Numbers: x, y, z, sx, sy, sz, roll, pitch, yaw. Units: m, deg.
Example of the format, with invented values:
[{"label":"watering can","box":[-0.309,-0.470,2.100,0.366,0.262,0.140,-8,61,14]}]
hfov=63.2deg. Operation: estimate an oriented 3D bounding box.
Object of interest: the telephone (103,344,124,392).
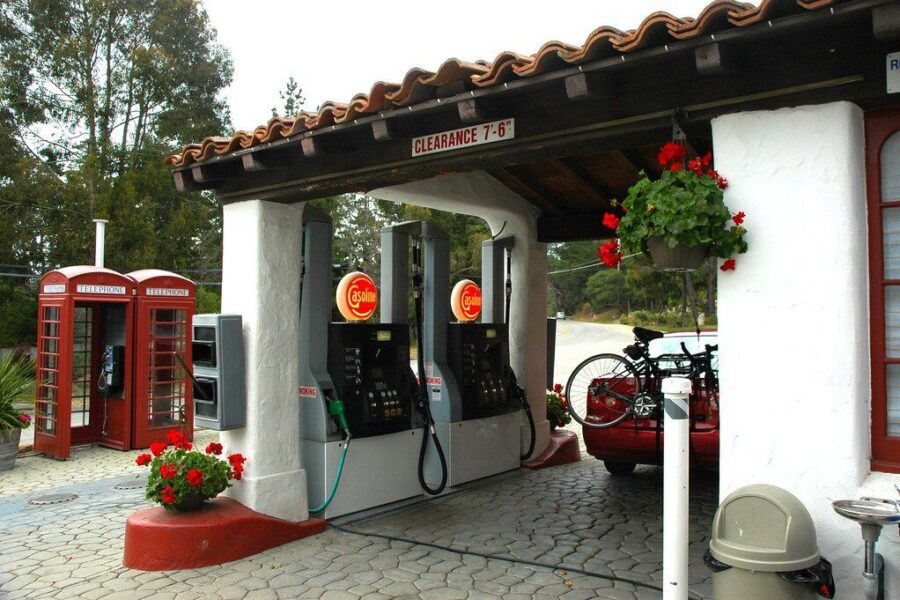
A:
[{"label":"telephone","box":[-5.221,1.088,11.373,0.460,0.772,0.158,2,4,33]}]

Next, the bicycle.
[{"label":"bicycle","box":[2.328,1.038,9.019,2.183,1.350,0.966,-2,-13,37]}]

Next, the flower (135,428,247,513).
[{"label":"flower","box":[-2.727,1.760,7.550,0.882,0.647,0.902,1,1,19]}]

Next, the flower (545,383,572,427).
[{"label":"flower","box":[1.545,1.631,11.376,0.603,0.621,0.609,1,-5,-3]}]

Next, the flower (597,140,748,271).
[{"label":"flower","box":[1.851,-0.848,6.051,1.212,1.147,1.184,-1,15,23]}]

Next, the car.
[{"label":"car","box":[2.360,1.219,8.573,1.325,1.134,2.035,-2,-3,39]}]
